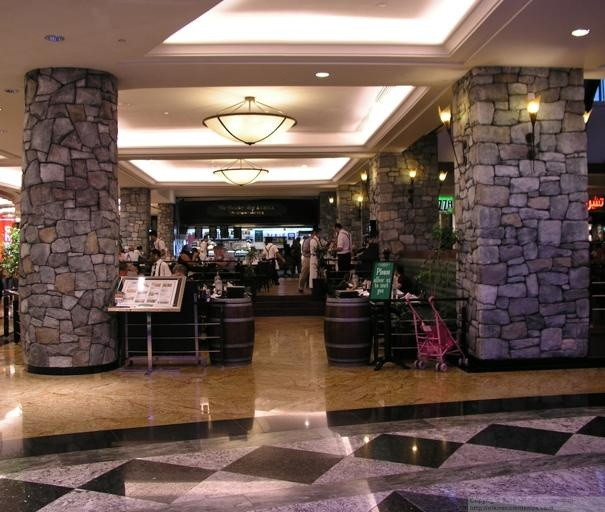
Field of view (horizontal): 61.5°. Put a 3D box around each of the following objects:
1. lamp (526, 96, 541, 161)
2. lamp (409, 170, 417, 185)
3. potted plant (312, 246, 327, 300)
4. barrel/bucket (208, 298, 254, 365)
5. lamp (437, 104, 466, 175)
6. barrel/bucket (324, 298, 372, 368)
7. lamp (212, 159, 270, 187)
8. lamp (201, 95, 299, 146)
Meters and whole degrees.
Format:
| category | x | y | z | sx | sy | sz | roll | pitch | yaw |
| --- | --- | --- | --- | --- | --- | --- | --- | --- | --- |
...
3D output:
| category | x | y | z | sx | sy | sz | roll | pitch | yaw |
| --- | --- | --- | --- | --- | --- | --- | --- | --- | --- |
| lamp | 2.894 | -1.616 | 6.365 | 0.154 | 0.685 | 0.191 | -2 | 0 | 24 |
| lamp | 2.450 | -1.753 | 11.222 | 0.161 | 0.314 | 0.196 | -1 | 0 | 8 |
| potted plant | 0.405 | 0.419 | 12.019 | 0.358 | 1.207 | 0.629 | -2 | 0 | 0 |
| barrel/bucket | -0.914 | 0.957 | 6.474 | 0.568 | 0.857 | 0.381 | -2 | 0 | -7 |
| lamp | 2.244 | -1.667 | 7.551 | 0.375 | 1.073 | 0.259 | 1 | 16 | 35 |
| barrel/bucket | 0.577 | 0.943 | 6.389 | 0.599 | 0.817 | 0.280 | -1 | 0 | 4 |
| lamp | -1.503 | -2.306 | 13.225 | 1.074 | 0.447 | 1.191 | 3 | 4 | 42 |
| lamp | -1.077 | -2.516 | 9.387 | 2.232 | 0.803 | 1.871 | -1 | 21 | -4 |
